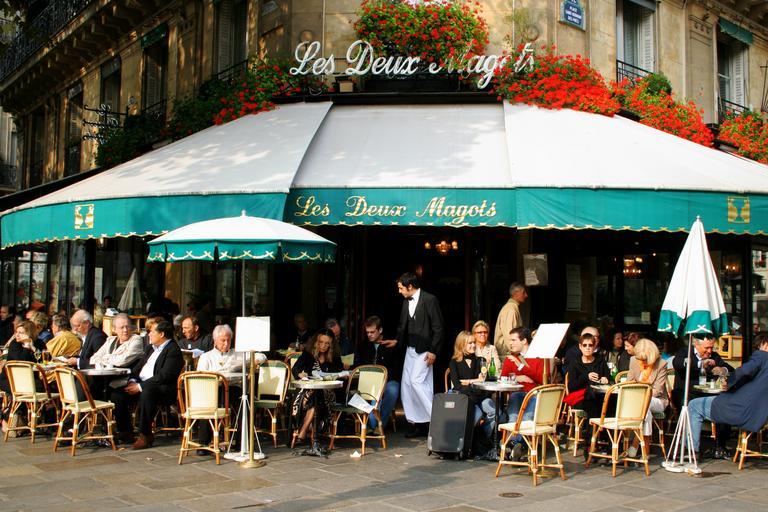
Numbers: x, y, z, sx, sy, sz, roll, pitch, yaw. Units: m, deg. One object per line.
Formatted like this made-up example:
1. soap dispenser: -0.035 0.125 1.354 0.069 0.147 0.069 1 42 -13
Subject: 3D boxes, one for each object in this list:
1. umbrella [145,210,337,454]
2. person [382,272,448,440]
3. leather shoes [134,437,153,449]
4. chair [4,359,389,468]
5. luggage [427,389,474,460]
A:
1. umbrella: -2.459 1.439 19.230 3.898 4.293 3.928 -1 -3 2
2. person: 0.612 1.775 19.330 0.980 2.855 0.929 -1 -3 35
3. leather shoes: -4.125 3.225 18.129 0.128 0.167 0.364 -8 -22 24
4. chair: -3.239 2.744 18.305 1.538 0.939 3.381 -14 -2 -3
5. luggage: 1.178 2.917 18.255 0.742 1.083 0.736 -1 -3 -4
